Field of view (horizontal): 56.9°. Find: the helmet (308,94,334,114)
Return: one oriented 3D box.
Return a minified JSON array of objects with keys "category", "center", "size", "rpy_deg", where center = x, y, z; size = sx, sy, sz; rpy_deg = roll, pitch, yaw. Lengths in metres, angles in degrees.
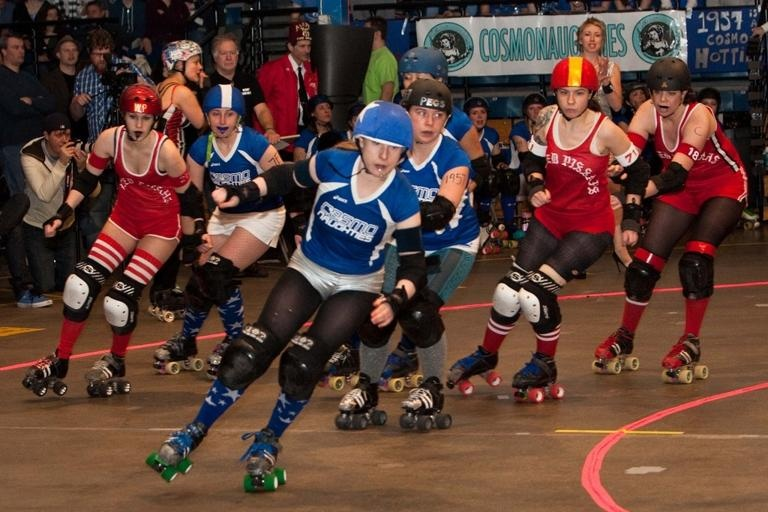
[{"category":"helmet","center":[-0.831,-1.937,9.062],"size":[0.213,0.150,0.262],"rpy_deg":[-8,-3,-4]}]

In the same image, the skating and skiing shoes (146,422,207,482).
[{"category":"skating and skiing shoes","center":[-1.061,1.021,3.748],"size":[0.233,0.336,0.130],"rpy_deg":[39,-8,13]}]

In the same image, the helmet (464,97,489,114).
[{"category":"helmet","center":[1.509,-2.479,11.750],"size":[0.388,0.252,0.354],"rpy_deg":[4,11,11]}]

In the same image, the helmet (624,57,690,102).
[{"category":"helmet","center":[2.330,-1.457,5.798],"size":[0.336,0.305,0.249],"rpy_deg":[4,11,11]}]

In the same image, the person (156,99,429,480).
[{"category":"person","center":[-0.423,0.186,3.893],"size":[1.346,2.026,0.629],"rpy_deg":[-2,11,-17]}]

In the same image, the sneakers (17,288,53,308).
[{"category":"sneakers","center":[-4.645,0.590,9.412],"size":[0.524,0.255,0.206],"rpy_deg":[0,0,11]}]

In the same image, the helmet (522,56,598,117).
[{"category":"helmet","center":[1.451,-1.272,5.358],"size":[0.372,0.429,0.271],"rpy_deg":[1,11,-4]}]

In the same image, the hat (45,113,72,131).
[{"category":"hat","center":[-4.156,-1.675,8.997],"size":[0.258,0.155,0.249],"rpy_deg":[-2,6,-11]}]

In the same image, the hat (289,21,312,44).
[{"category":"hat","center":[-1.202,-3.209,10.242],"size":[0.344,0.253,0.291],"rpy_deg":[6,9,26]}]

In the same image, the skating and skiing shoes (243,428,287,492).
[{"category":"skating and skiing shoes","center":[-0.629,1.102,3.840],"size":[0.139,0.245,0.429],"rpy_deg":[-1,0,8]}]
